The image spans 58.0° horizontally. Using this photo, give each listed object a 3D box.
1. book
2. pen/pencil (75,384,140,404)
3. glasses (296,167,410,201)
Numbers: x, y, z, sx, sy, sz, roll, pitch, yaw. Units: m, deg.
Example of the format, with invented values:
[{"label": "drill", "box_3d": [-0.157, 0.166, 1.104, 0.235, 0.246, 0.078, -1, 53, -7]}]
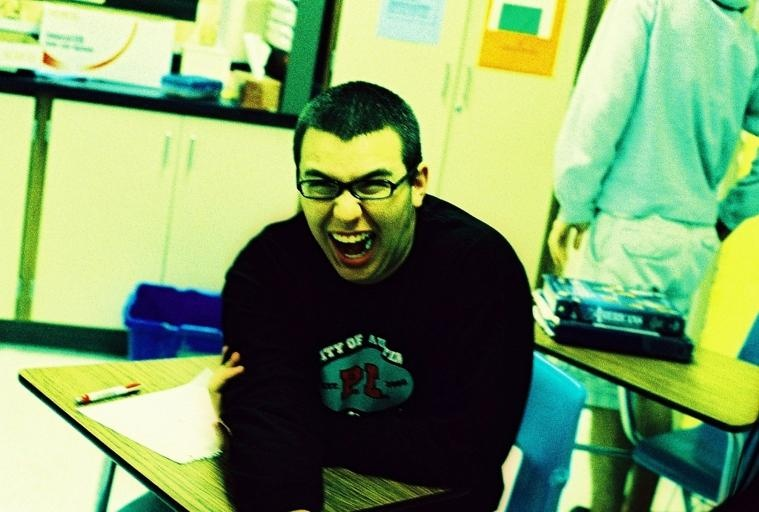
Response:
[{"label": "book", "box_3d": [0.799, 0.221, 2.353, 0.350, 0.090, 0.351, 8, 10, -2]}, {"label": "pen/pencil", "box_3d": [-0.735, 0.371, 1.834, 0.111, 0.020, 0.022, -14, 19, -35]}, {"label": "glasses", "box_3d": [-0.062, -0.193, 1.897, 0.326, 0.098, 0.072, 3, 12, -10]}]
